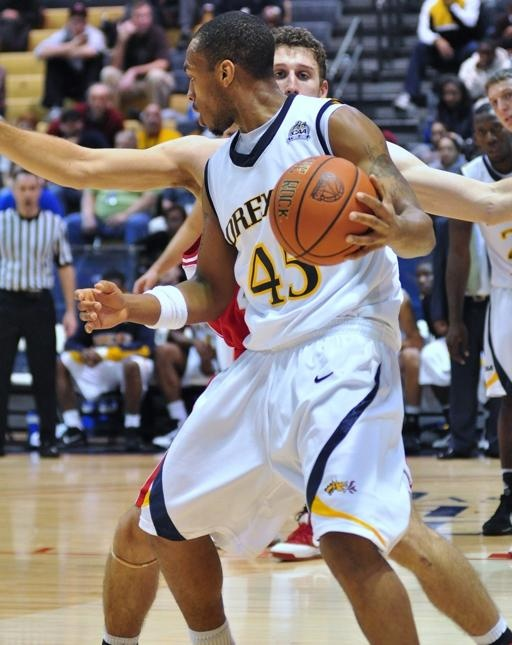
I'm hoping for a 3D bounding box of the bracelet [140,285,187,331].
[{"bbox_3d":[-0.223,-0.055,2.250,0.067,0.070,0.088,-29,21,-33],"label":"bracelet"}]

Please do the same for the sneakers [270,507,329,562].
[{"bbox_3d":[0.168,0.805,3.555,0.103,0.192,0.311,-26,-24,37],"label":"sneakers"}]

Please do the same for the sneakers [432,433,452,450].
[{"bbox_3d":[1.364,0.874,6.836,0.153,0.051,0.110,-27,3,4],"label":"sneakers"}]

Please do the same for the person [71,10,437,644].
[{"bbox_3d":[0.080,0.074,2.069,0.854,1.447,0.581,12,22,28],"label":"person"}]

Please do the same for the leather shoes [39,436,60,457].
[{"bbox_3d":[-1.335,0.821,6.079,0.067,0.185,0.122,0,58,-6],"label":"leather shoes"}]
